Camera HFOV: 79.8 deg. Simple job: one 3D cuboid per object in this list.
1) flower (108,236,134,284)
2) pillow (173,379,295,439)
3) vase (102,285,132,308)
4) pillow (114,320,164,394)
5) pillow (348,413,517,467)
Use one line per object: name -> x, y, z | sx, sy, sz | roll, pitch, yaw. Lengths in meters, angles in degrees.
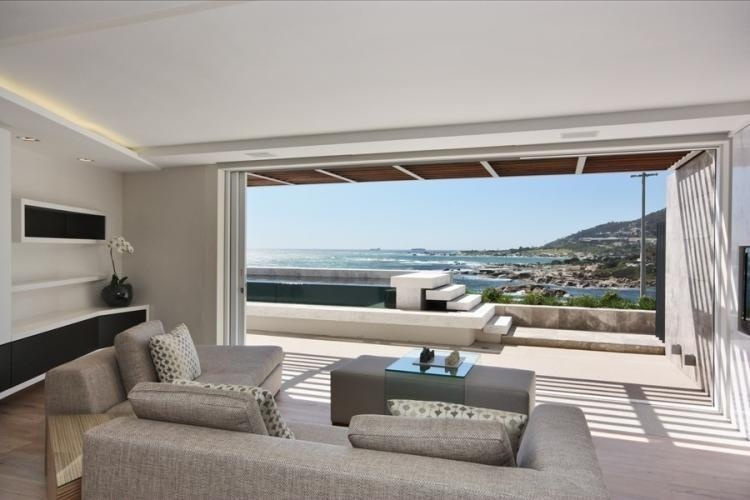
flower -> -3.730, 0.132, 6.601 | 0.336, 0.653, 0.662 | -2, 7, -28
pillow -> -0.747, 0.963, 2.760 | 0.511, 0.209, 0.500 | 2, -9, 13
vase -> -3.644, 0.664, 6.352 | 0.368, 0.221, 0.353 | 3, -6, -31
pillow -> -2.002, 0.938, 3.827 | 0.209, 0.503, 0.566 | -13, 2, 4
pillow -> 0.309, 1.026, 2.410 | 0.462, 0.122, 0.439 | -1, -12, 14
